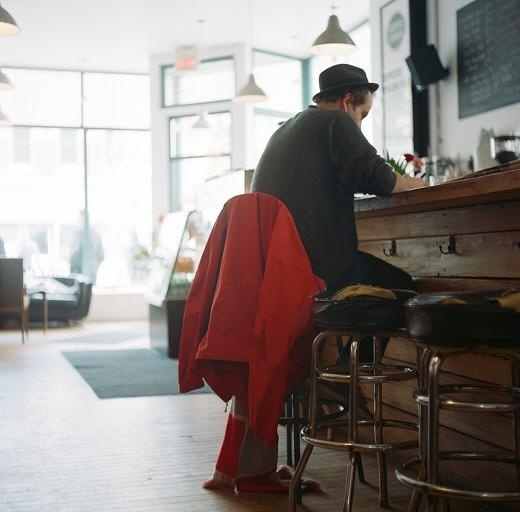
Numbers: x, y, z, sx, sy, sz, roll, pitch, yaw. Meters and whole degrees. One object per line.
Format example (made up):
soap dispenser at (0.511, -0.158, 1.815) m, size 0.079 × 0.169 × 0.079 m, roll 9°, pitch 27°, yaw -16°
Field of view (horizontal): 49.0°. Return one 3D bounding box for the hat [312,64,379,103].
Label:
hat at (0.323, -0.691, 2.260) m, size 0.179 × 0.079 × 0.158 m, roll -22°, pitch 6°, yaw -22°

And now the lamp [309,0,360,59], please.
lamp at (0.750, -2.298, 5.843) m, size 0.390 × 0.513 × 0.461 m, roll -1°, pitch -1°, yaw 17°

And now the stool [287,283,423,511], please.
stool at (0.303, 0.492, 1.901) m, size 0.431 × 0.808 × 0.897 m, roll 1°, pitch 2°, yaw 15°
